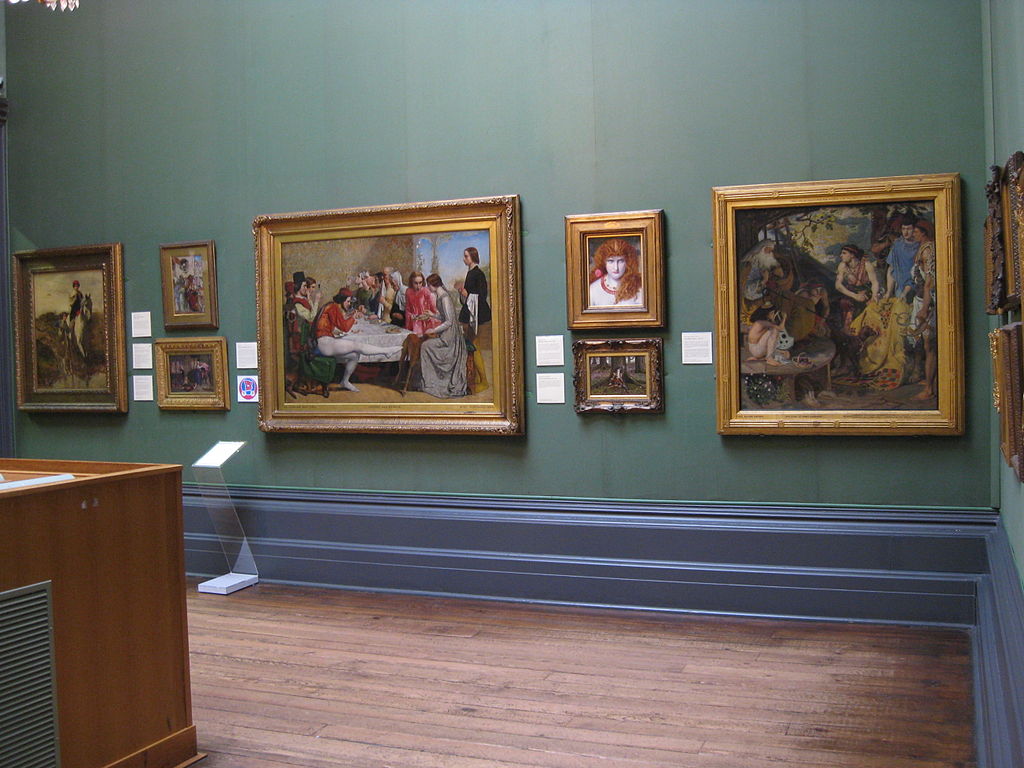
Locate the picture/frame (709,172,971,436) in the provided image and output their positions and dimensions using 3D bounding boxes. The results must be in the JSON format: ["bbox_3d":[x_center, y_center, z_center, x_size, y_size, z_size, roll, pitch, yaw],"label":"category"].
[{"bbox_3d":[3.412,-0.846,8.470,2.311,2.850,0.197,0,-1,17],"label":"picture/frame"}]
